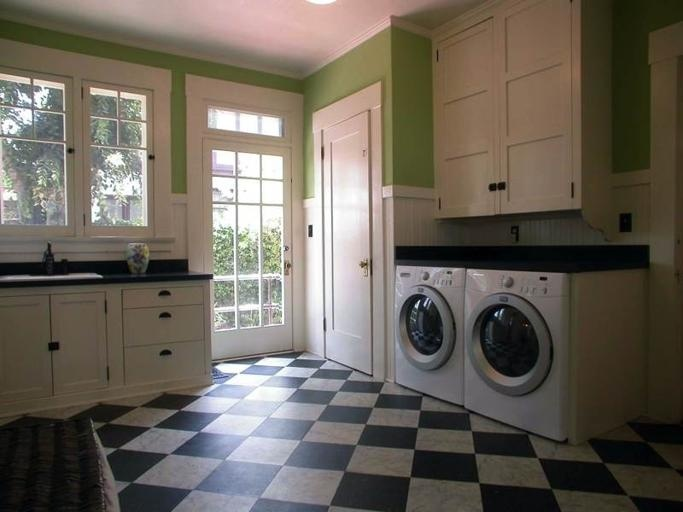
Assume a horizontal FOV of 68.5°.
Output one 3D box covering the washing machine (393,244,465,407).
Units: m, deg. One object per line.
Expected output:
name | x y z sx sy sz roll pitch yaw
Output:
washing machine | 0.696 0.521 3.763 0.534 1.001 0.487 4 6 36

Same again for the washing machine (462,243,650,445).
washing machine | 1.277 0.469 3.404 0.948 1.129 1.018 -7 14 0
